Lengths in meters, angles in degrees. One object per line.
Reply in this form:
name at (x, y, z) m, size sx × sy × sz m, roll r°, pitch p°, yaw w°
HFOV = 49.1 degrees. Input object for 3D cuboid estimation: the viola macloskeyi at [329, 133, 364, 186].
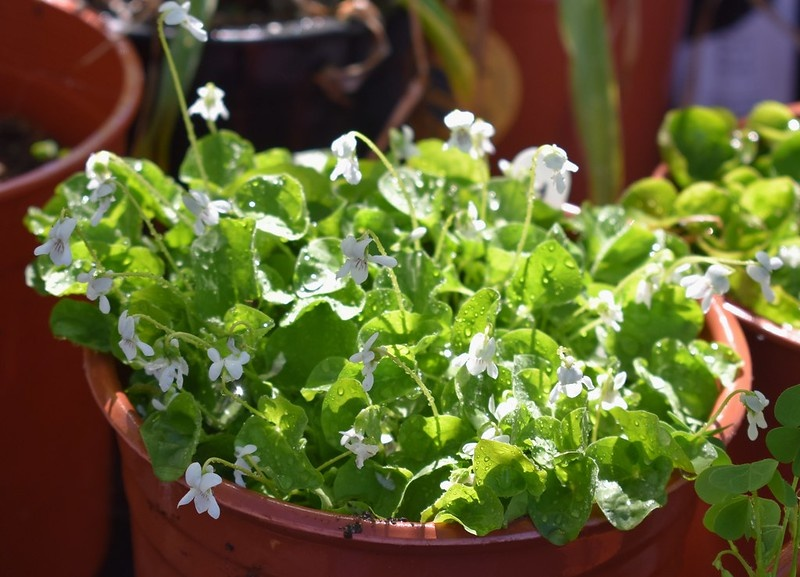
viola macloskeyi at (-0.049, -0.120, 0.813) m, size 0.031 × 0.050 × 0.014 m, roll 6°, pitch -4°, yaw 10°

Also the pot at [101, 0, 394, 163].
pot at (-0.240, -0.372, 1.479) m, size 0.320 × 0.299 × 0.374 m, roll 0°, pitch 24°, yaw -6°
